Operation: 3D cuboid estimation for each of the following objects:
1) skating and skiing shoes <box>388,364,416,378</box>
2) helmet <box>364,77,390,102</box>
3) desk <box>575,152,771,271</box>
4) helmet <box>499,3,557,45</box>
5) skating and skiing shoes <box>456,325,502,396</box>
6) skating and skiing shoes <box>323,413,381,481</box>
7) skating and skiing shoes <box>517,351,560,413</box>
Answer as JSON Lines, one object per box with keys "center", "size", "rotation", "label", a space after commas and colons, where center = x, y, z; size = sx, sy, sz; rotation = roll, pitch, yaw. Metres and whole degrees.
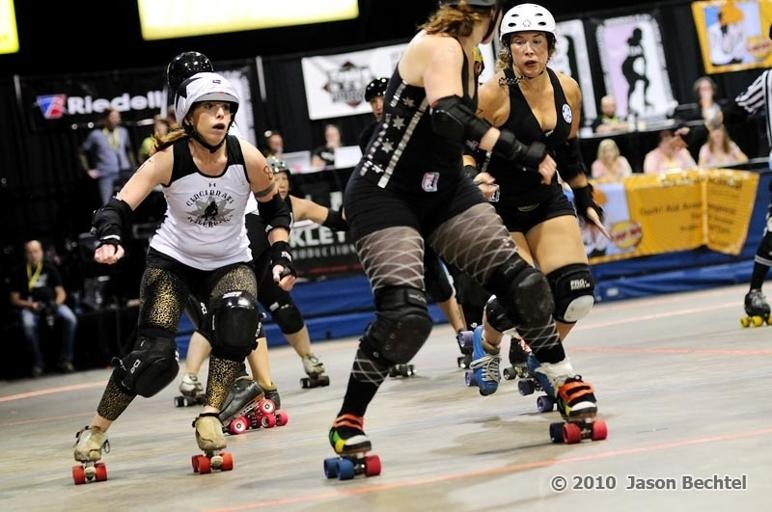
{"center": [0.141, 1.036, 7.573], "size": [0.243, 0.135, 0.245], "rotation": [-8, 6, -2], "label": "skating and skiing shoes"}
{"center": [-0.071, -1.602, 7.828], "size": [0.208, 0.215, 0.420], "rotation": [-9, 6, -16], "label": "helmet"}
{"center": [3.739, -0.578, 10.625], "size": [1.834, 0.802, 1.956], "rotation": [-8, -1, -20], "label": "desk"}
{"center": [0.947, -1.615, 5.657], "size": [0.364, 0.267, 0.261], "rotation": [-7, 6, 9], "label": "helmet"}
{"center": [0.759, 0.816, 6.319], "size": [0.261, 0.570, 0.278], "rotation": [-8, -1, -31], "label": "skating and skiing shoes"}
{"center": [-0.188, 1.130, 4.850], "size": [0.208, 0.247, 0.454], "rotation": [1, -7, -14], "label": "skating and skiing shoes"}
{"center": [1.034, 0.873, 5.635], "size": [0.134, 0.282, 0.372], "rotation": [-11, 27, -10], "label": "skating and skiing shoes"}
